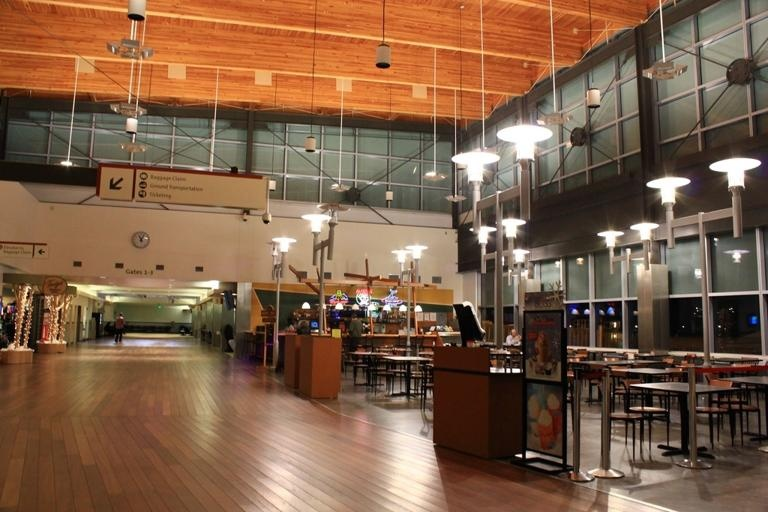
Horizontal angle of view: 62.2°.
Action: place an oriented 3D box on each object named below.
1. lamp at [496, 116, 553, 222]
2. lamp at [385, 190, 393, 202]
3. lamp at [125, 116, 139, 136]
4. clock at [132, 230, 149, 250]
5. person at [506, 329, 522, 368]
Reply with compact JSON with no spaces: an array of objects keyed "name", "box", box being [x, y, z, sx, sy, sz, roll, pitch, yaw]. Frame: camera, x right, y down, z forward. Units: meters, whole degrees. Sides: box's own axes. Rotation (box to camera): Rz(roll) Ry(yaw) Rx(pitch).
[{"name":"lamp","box":[2.208,-1.343,9.967,0.784,1.556,0.981,1,-6,14]},{"name":"lamp","box":[0.225,-2.326,24.293,0.319,0.460,0.582,2,-7,3]},{"name":"lamp","box":[-6.372,-3.319,16.058,0.229,0.545,0.670,6,-7,-27]},{"name":"clock","box":[-8.525,-0.558,22.208,0.470,0.483,0.066,38,-20,-19]},{"name":"person","box":[3.571,2.534,17.471,0.542,0.845,0.581,-2,-1,-15]}]
